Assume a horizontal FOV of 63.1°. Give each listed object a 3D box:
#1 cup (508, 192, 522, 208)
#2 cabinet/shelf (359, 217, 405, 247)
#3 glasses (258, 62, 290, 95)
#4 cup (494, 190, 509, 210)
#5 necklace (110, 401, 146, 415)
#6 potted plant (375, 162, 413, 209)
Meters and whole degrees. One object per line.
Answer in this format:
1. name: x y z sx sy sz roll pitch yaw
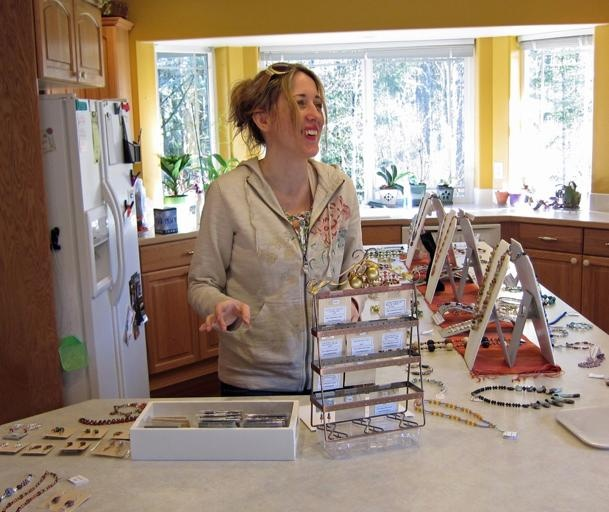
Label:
1. cup: 1.907 -0.564 4.502 0.079 0.088 0.103 1 -3 8
2. cabinet/shelf: 0.649 -0.238 4.134 0.369 0.265 0.213 0 1 -3
3. glasses: -0.080 -0.526 1.437 0.039 0.104 0.081 33 22 32
4. cup: 1.796 -0.567 4.543 0.123 0.151 0.139 -2 0 18
5. necklace: -0.453 0.394 1.285 0.060 0.015 0.052 0 7 -5
6. potted plant: 0.896 -0.698 4.824 0.311 0.386 0.322 4 -8 25
